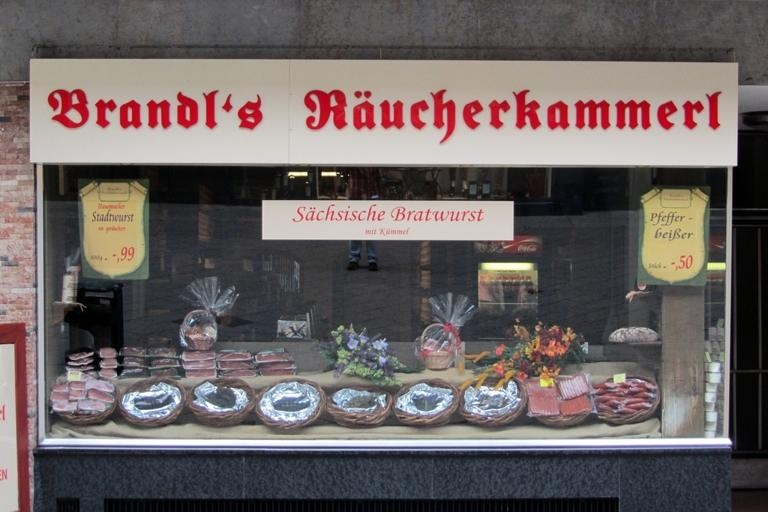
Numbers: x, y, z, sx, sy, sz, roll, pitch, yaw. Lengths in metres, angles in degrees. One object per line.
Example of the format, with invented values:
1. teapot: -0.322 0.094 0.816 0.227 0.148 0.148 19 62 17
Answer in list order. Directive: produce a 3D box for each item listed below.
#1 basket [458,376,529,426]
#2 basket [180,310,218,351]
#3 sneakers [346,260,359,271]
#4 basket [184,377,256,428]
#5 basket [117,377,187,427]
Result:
1. basket: 1.322 1.686 17.777 0.618 0.168 0.591 -11 10 -36
2. basket: -2.210 0.851 17.966 0.479 0.462 0.528 1 4 -12
3. sneakers: -0.354 0.092 17.816 0.126 0.103 0.258 1 -5 0
4. basket: -1.908 1.688 17.794 0.680 0.201 0.569 0 35 -11
5. basket: -2.720 1.710 17.793 0.653 0.571 0.221 -23 -32 -16
